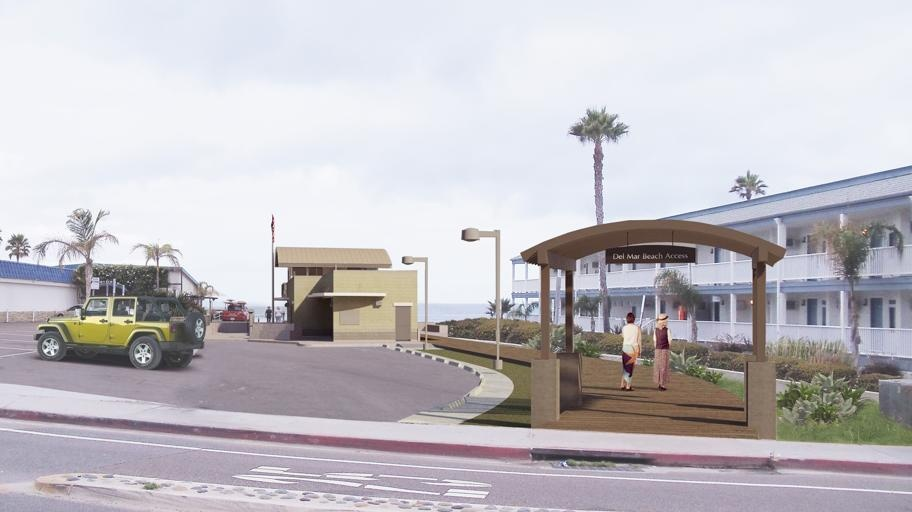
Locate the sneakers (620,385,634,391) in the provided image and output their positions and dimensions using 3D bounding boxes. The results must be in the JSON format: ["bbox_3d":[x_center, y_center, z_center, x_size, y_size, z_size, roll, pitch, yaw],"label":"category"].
[{"bbox_3d":[6.771,5.191,34.269,0.254,0.176,0.465,4,1,35],"label":"sneakers"}]
